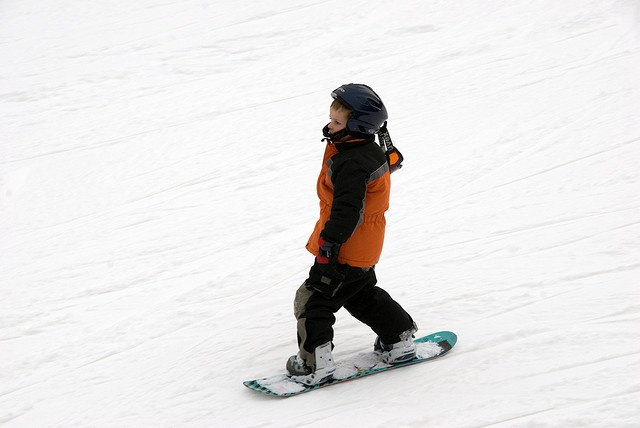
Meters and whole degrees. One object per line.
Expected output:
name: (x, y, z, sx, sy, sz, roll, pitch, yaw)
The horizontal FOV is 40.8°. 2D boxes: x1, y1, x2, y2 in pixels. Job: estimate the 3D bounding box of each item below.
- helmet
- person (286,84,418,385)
helmet: (0.271, -0.829, 6.781, 0.641, 0.269, 0.374, 10, 15, -4)
person: (0.163, 0.158, 6.813, 0.975, 2.363, 0.422, -12, 5, -26)
